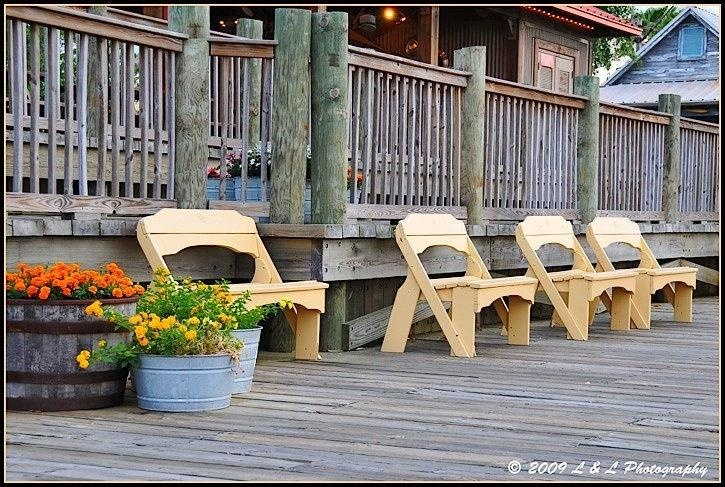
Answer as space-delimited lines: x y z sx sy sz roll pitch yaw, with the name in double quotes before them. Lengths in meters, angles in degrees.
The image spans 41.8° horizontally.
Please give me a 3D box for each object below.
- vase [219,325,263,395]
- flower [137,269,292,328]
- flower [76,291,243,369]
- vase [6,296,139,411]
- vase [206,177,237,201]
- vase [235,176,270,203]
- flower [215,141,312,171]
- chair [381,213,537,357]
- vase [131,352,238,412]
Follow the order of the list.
"vase" -0.723 0.732 5.945 0.318 0.321 0.310 3 4 8
"flower" -0.954 0.417 5.871 0.515 0.271 0.611 15 24 27
"flower" -1.146 0.424 5.561 0.534 0.258 0.561 0 1 8
"vase" -1.759 0.650 5.726 0.626 0.478 0.656 1 -5 -4
"vase" -1.149 -0.441 7.726 0.220 0.156 0.200 2 -3 -24
"vase" -0.867 -0.417 7.492 0.238 0.171 0.216 -1 -3 36
"flower" -0.782 -0.692 7.864 0.660 0.305 1.426 0 9 -8
"chair" 0.864 0.331 7.637 1.155 1.276 1.118 -1 0 37
"vase" -1.019 0.844 5.585 0.412 0.175 0.381 11 -12 -42
